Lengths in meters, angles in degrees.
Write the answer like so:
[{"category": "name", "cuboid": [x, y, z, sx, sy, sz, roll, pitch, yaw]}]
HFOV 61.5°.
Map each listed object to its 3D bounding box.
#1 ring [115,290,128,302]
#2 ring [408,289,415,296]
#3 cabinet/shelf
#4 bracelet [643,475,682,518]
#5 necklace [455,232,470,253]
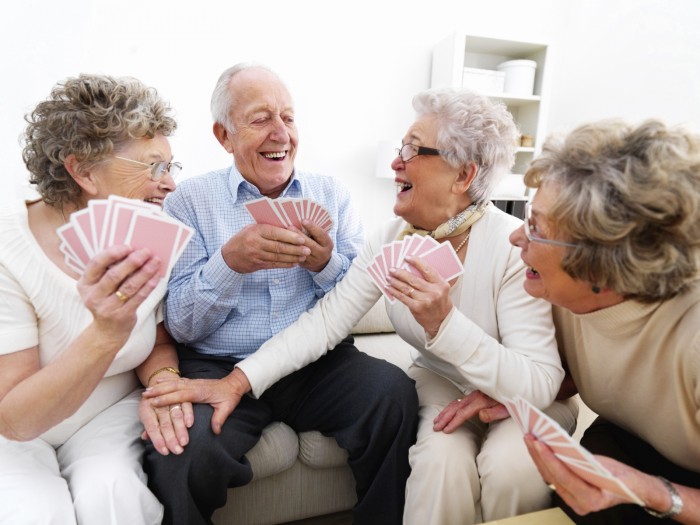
[{"category": "ring", "cuboid": [-0.776, 0.113, 1.999, 0.042, 0.045, 0.015, -2, 14, -17]}, {"category": "ring", "cuboid": [0.234, 0.111, 2.226, 0.005, 0.023, 0.023, 10, 5, -33]}, {"category": "cabinet/shelf", "cuboid": [1.154, -0.721, 5.174, 0.841, 2.280, 0.737, 1, 13, -9]}, {"category": "bracelet", "cuboid": [1.052, 0.784, 1.977, 0.103, 0.123, 0.045, -8, -13, 11]}, {"category": "necklace", "cuboid": [0.481, -0.081, 2.506, 0.026, 0.074, 0.058, 37, 5, 7]}]
